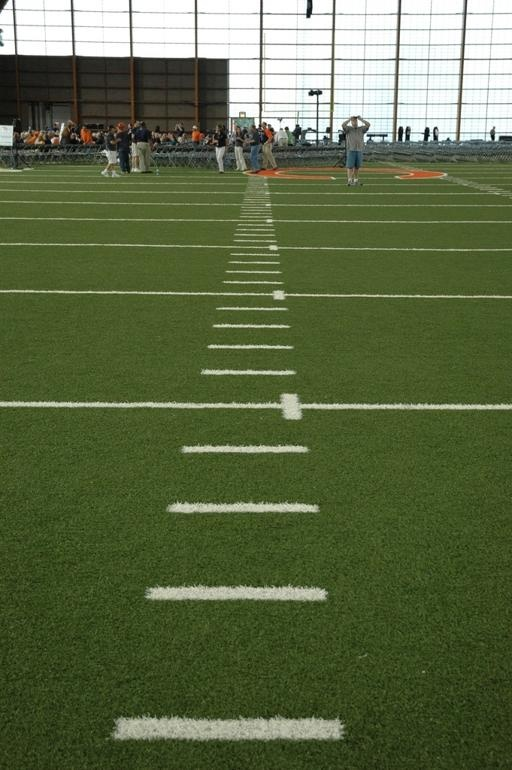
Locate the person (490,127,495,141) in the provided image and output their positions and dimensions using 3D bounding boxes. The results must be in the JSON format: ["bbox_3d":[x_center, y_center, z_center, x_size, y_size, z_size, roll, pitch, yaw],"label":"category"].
[{"bbox_3d":[15.231,-16.114,56.302,0.359,0.782,0.290,3,9,12],"label":"person"}]

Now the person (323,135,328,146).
[{"bbox_3d":[4.438,-15.481,55.620,0.436,0.526,0.898,-1,13,5],"label":"person"}]
